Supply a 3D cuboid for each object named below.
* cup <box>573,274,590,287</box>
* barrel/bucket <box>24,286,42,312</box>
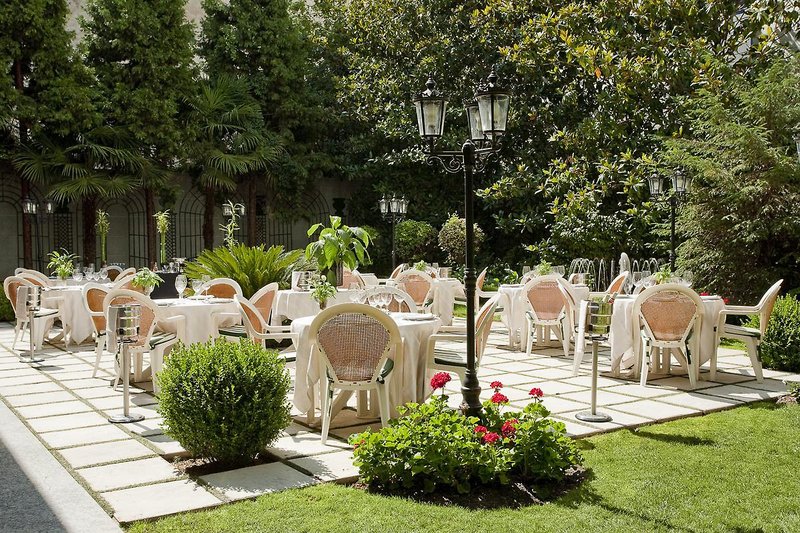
[{"bbox_3d":[2.997,0.215,12.452,0.213,0.230,0.213,0,9,0],"label":"cup"},{"bbox_3d":[-5.573,0.491,11.421,0.327,0.513,0.332,2,4,0],"label":"barrel/bucket"}]
